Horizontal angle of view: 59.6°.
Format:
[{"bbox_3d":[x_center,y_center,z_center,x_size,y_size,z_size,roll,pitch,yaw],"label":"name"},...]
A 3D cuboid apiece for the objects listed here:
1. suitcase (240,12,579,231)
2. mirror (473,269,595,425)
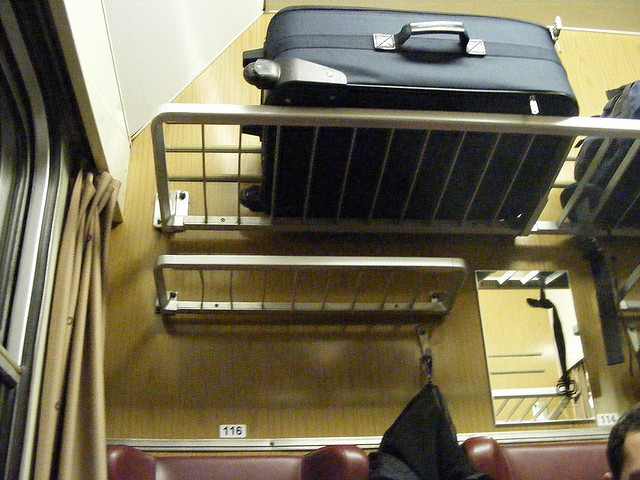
[{"bbox_3d":[0.266,-0.368,1.598,0.943,0.623,0.276,3,55,-6],"label":"suitcase"},{"bbox_3d":[0.678,0.335,1.791,0.331,0.411,0.327,3,16,-4],"label":"mirror"}]
